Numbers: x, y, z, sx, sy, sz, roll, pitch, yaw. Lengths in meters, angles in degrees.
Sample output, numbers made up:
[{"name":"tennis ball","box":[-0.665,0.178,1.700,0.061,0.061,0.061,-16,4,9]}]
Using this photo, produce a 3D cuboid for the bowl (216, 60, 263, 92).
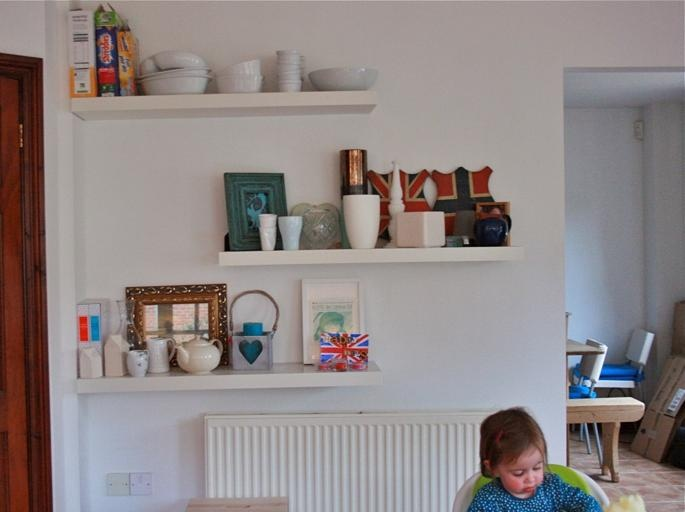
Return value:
[{"name":"bowl","box":[-0.487,-0.837,3.787,0.172,0.131,0.142,-1,1,0]}]

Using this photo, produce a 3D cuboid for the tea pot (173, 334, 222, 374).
[{"name":"tea pot","box":[-0.706,0.461,3.848,0.148,0.151,0.212,-8,-11,43]}]

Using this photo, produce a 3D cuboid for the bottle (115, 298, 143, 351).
[{"name":"bottle","box":[-1.040,0.333,3.911,0.116,0.243,0.067,-5,6,-30]}]

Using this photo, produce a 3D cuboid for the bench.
[{"name":"bench","box":[1.330,0.981,4.370,0.512,0.458,0.309,0,9,-11]}]

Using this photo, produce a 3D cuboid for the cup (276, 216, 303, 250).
[{"name":"cup","box":[-0.238,-0.113,3.845,0.102,0.163,0.168,1,6,32]}]

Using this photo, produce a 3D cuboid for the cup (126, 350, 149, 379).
[{"name":"cup","box":[-0.977,0.509,3.801,0.081,0.117,0.124,1,-6,-7]}]

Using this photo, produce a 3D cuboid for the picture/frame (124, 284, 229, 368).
[{"name":"picture/frame","box":[-0.827,0.345,3.906,0.354,0.335,0.022,-1,1,0]}]

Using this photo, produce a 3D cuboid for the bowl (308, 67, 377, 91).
[{"name":"bowl","box":[0.001,-0.843,3.808,0.321,0.117,0.088,-3,5,-5]}]

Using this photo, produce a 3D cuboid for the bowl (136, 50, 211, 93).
[{"name":"bowl","box":[-0.812,-0.853,3.777,0.237,0.141,0.217,-3,3,0]}]

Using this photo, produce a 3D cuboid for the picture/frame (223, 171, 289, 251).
[{"name":"picture/frame","box":[-0.423,-0.214,3.879,0.325,0.479,0.050,-2,-9,-8]}]

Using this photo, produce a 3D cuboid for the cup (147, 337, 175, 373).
[{"name":"cup","box":[-0.886,0.475,3.844,0.161,0.179,0.109,2,-4,-23]}]

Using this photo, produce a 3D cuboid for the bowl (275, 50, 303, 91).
[{"name":"bowl","box":[-0.267,-0.883,3.831,0.122,0.203,0.085,-2,5,8]}]

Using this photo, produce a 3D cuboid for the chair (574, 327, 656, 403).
[{"name":"chair","box":[1.458,0.613,4.317,0.382,0.483,0.355,3,0,-1]}]

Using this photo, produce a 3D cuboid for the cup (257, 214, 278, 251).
[{"name":"cup","box":[-0.353,-0.114,3.808,0.089,0.171,0.100,-3,5,-13]}]
